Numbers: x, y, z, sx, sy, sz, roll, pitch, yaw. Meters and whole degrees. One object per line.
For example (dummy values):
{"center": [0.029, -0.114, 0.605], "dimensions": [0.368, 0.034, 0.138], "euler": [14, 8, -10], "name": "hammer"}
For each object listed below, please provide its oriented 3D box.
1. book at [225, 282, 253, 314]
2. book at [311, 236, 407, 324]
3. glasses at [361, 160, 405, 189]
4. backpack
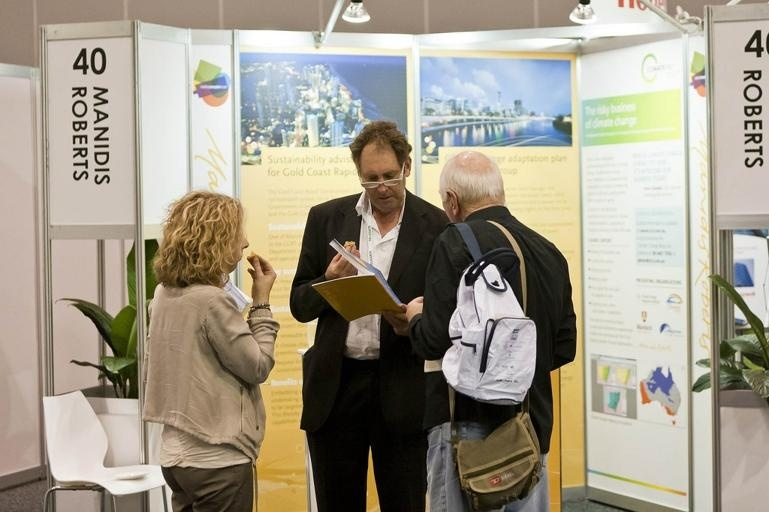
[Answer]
{"center": [-0.772, 0.207, 4.213], "dimensions": [0.050, 0.161, 0.158], "euler": [-36, 8, 12], "name": "book"}
{"center": [-0.129, 0.193, 4.069], "dimensions": [0.330, 0.190, 0.458], "euler": [-13, -42, 23], "name": "book"}
{"center": [-0.006, -0.430, 4.407], "dimensions": [0.238, 0.121, 0.077], "euler": [-2, 6, -1], "name": "glasses"}
{"center": [0.496, 0.269, 3.879], "dimensions": [0.434, 0.826, 0.290], "euler": [-1, 5, 5], "name": "backpack"}
